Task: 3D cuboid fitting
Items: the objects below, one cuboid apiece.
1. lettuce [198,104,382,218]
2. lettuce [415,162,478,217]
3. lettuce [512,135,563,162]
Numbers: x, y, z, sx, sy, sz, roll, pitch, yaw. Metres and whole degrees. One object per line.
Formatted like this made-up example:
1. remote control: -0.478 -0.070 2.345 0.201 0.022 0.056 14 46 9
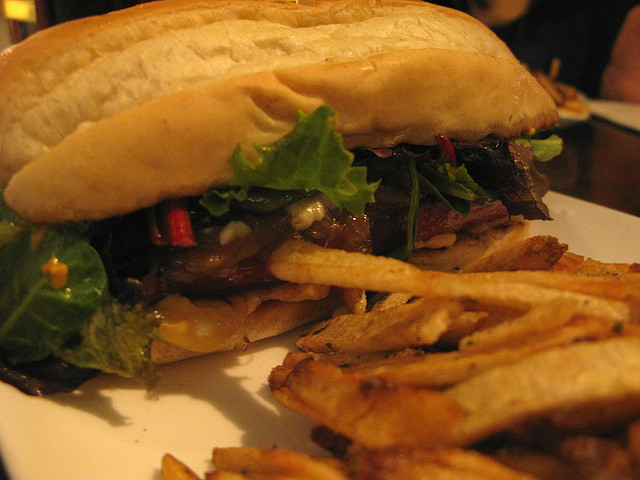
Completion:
1. lettuce: -0.081 -0.182 1.719 0.582 0.159 0.355 -6 11 20
2. lettuce: 0.356 -0.161 1.946 0.255 0.055 0.103 28 33 15
3. lettuce: 0.751 -0.331 2.279 0.157 0.032 0.104 9 40 -7
